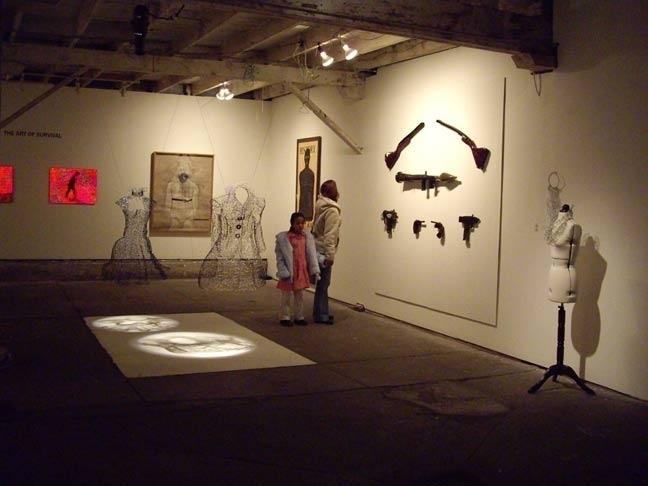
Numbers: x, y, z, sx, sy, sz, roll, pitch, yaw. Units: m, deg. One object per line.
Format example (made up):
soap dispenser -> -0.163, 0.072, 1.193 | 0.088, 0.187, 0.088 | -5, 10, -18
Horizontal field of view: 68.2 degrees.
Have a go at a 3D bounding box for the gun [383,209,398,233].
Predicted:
gun -> 1.027, -0.313, 7.507 | 0.108, 0.393, 0.321 | 1, 4, -27

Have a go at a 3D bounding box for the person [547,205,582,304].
person -> 2.298, 0.111, 4.616 | 0.275, 0.944, 0.175 | 4, 3, 28

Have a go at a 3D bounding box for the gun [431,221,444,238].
gun -> 1.580, -0.172, 6.679 | 0.066, 0.235, 0.273 | 1, 4, -22

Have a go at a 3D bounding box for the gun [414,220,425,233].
gun -> 1.376, -0.221, 6.975 | 0.065, 0.209, 0.252 | 1, 4, -26

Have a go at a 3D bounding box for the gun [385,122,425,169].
gun -> 1.192, -1.452, 7.279 | 0.060, 0.655, 0.878 | 0, 4, -31

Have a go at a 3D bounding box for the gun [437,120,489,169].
gun -> 1.805, -1.220, 6.153 | 0.602, 0.215, 0.387 | 44, -10, 17

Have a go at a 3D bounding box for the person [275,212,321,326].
person -> -0.387, 0.379, 6.818 | 0.634, 1.592, 0.711 | 2, 3, -7

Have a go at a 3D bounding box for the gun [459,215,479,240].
gun -> 1.879, -0.198, 6.185 | 0.285, 0.367, 0.074 | 3, 4, 11

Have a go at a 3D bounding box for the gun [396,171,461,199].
gun -> 1.429, -0.821, 6.808 | 0.162, 0.355, 1.201 | 0, 4, -31
